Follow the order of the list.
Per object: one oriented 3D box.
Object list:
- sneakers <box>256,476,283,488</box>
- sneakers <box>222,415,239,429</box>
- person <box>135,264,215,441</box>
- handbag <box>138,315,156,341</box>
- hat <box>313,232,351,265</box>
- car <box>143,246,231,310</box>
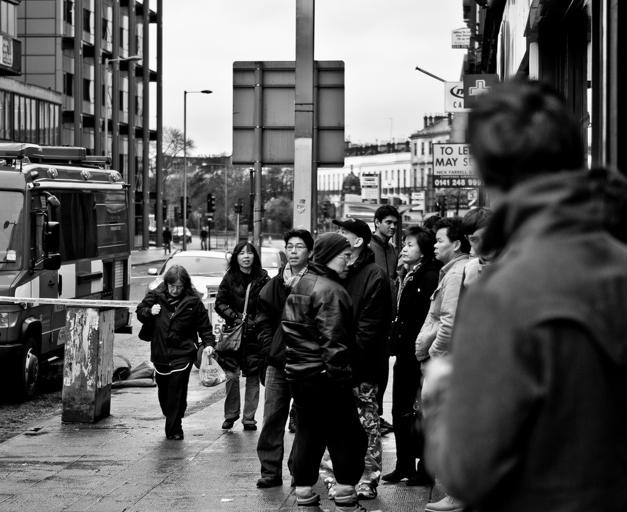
[{"bbox_3d":[-0.320,1.656,7.440,0.202,0.097,0.069,13,-12,-38],"label":"sneakers"},{"bbox_3d":[-0.798,1.582,9.686,0.066,0.096,0.212,5,8,15],"label":"sneakers"},{"bbox_3d":[-1.271,0.875,9.481,0.686,1.489,0.608,-4,1,-19],"label":"person"},{"bbox_3d":[-1.565,0.693,9.622,0.127,0.239,0.217,0,-10,32],"label":"handbag"},{"bbox_3d":[0.111,-0.054,6.517,0.188,0.176,0.197,-8,1,-3],"label":"hat"},{"bbox_3d":[-2.068,0.354,17.721,0.964,0.890,1.806,1,-4,4],"label":"car"}]
